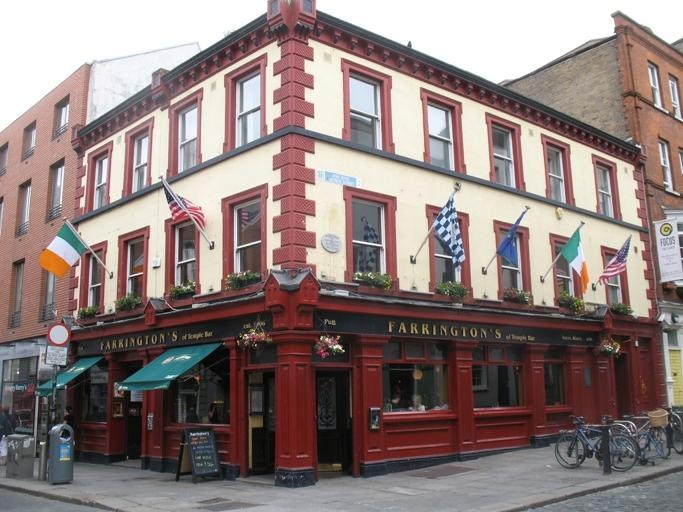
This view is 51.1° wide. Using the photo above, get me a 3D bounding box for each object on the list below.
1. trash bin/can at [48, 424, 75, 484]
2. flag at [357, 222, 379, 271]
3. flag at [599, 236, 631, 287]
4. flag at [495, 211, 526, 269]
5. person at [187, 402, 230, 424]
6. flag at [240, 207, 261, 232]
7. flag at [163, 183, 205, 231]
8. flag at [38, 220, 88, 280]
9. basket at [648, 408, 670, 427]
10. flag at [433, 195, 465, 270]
[{"bbox_3d":[-8.314,5.831,21.102,0.679,1.769,0.449,-1,-1,-24],"label":"trash bin/can"},{"bbox_3d":[0.850,-0.273,22.049,0.228,1.465,0.921,-2,-2,44],"label":"flag"},{"bbox_3d":[10.995,0.164,28.587,1.206,1.786,4.389,-2,-1,22],"label":"flag"},{"bbox_3d":[5.955,-0.678,24.935,1.085,2.031,2.988,-2,-1,14],"label":"flag"},{"bbox_3d":[-4.241,4.908,22.606,1.891,0.774,0.192,-2,-2,35],"label":"person"},{"bbox_3d":[-2.783,-1.119,21.975,0.683,0.517,0.076,-9,-15,42],"label":"flag"},{"bbox_3d":[-5.230,-1.761,22.566,0.693,1.780,0.173,-32,-18,-23],"label":"flag"},{"bbox_3d":[-10.351,-0.199,26.679,1.802,2.156,0.263,27,-18,-36],"label":"flag"},{"bbox_3d":[9.386,4.737,21.184,0.586,0.470,0.611,-2,-11,6],"label":"basket"},{"bbox_3d":[3.477,-0.863,23.190,0.992,2.367,2.209,-1,-1,10],"label":"flag"}]
